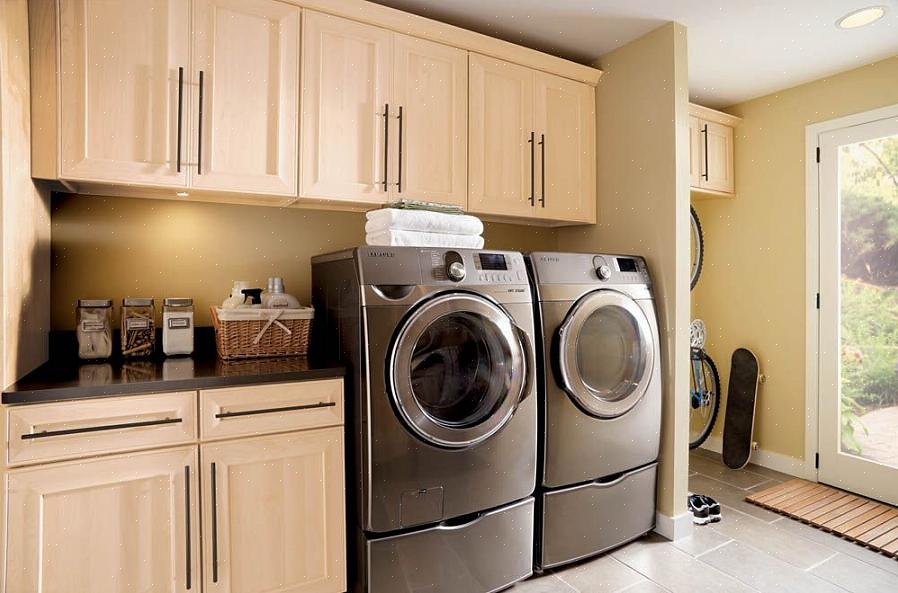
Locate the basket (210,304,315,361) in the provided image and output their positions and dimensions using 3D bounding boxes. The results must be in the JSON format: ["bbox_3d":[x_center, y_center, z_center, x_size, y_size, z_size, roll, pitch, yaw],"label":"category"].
[{"bbox_3d":[-1.004,0.189,3.618,0.318,0.196,0.407,1,-5,-26],"label":"basket"}]

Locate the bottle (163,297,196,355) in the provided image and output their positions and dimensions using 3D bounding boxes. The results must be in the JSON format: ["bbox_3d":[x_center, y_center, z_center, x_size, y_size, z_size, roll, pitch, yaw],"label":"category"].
[{"bbox_3d":[-1.496,0.165,3.732,0.169,0.319,0.129,-3,5,-24],"label":"bottle"}]

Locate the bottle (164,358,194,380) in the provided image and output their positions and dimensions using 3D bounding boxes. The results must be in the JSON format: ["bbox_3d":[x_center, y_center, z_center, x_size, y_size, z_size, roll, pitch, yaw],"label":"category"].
[{"bbox_3d":[-1.374,0.362,3.436,0.124,0.110,0.129,2,-6,-40],"label":"bottle"}]

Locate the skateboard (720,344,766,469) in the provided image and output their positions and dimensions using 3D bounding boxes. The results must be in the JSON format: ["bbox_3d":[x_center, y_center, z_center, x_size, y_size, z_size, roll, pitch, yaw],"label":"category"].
[{"bbox_3d":[2.184,0.826,5.077,0.129,0.853,0.284,13,-4,-38],"label":"skateboard"}]

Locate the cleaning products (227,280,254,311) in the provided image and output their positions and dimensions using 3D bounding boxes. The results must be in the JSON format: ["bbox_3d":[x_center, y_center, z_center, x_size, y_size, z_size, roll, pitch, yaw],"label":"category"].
[{"bbox_3d":[-1.165,-0.004,3.702,0.167,0.155,0.115,-5,7,-29],"label":"cleaning products"}]

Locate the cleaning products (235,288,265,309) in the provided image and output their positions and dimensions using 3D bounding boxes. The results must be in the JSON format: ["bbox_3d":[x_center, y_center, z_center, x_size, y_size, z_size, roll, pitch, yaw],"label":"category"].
[{"bbox_3d":[-1.102,0.004,3.738,0.075,0.097,0.134,-2,-7,17],"label":"cleaning products"}]

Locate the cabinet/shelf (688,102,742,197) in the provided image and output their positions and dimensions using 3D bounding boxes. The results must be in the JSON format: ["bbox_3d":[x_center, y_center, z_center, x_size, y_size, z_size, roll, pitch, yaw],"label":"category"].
[{"bbox_3d":[2.068,-1.125,5.201,0.317,0.601,0.623,-15,24,-17],"label":"cabinet/shelf"}]

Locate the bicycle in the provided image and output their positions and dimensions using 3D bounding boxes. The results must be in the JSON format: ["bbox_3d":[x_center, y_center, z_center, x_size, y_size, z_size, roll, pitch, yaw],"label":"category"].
[{"bbox_3d":[2.019,0.272,5.327,0.224,1.875,0.406,1,5,21],"label":"bicycle"}]

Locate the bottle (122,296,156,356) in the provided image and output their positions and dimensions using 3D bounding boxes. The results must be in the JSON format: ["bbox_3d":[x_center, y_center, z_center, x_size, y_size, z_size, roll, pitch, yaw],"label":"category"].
[{"bbox_3d":[-1.701,0.163,3.692,0.174,0.317,0.130,-4,5,-25],"label":"bottle"}]

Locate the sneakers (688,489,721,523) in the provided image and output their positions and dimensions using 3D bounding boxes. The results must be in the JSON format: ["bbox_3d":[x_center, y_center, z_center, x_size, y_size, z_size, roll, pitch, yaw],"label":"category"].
[{"bbox_3d":[1.607,1.324,4.280,0.141,0.068,0.196,-1,4,2],"label":"sneakers"}]

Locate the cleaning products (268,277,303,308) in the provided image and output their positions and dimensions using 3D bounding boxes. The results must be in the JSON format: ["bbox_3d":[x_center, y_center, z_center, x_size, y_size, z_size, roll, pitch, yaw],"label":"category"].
[{"bbox_3d":[-0.914,-0.017,3.757,0.176,0.117,0.176,1,-3,-34],"label":"cleaning products"}]

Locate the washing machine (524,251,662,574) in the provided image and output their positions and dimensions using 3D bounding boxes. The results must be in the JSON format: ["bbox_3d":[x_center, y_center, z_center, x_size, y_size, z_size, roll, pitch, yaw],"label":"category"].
[{"bbox_3d":[0.831,0.619,3.958,0.920,1.765,0.309,-4,6,-31],"label":"washing machine"}]
